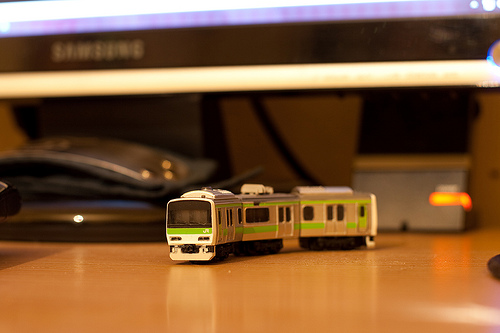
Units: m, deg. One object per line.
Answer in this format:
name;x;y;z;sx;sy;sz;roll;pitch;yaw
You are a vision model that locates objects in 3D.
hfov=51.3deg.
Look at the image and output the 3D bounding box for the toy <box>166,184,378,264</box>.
toy;0.121;0.147;1.397;0.711;0.243;0.188;2;-6;-25
